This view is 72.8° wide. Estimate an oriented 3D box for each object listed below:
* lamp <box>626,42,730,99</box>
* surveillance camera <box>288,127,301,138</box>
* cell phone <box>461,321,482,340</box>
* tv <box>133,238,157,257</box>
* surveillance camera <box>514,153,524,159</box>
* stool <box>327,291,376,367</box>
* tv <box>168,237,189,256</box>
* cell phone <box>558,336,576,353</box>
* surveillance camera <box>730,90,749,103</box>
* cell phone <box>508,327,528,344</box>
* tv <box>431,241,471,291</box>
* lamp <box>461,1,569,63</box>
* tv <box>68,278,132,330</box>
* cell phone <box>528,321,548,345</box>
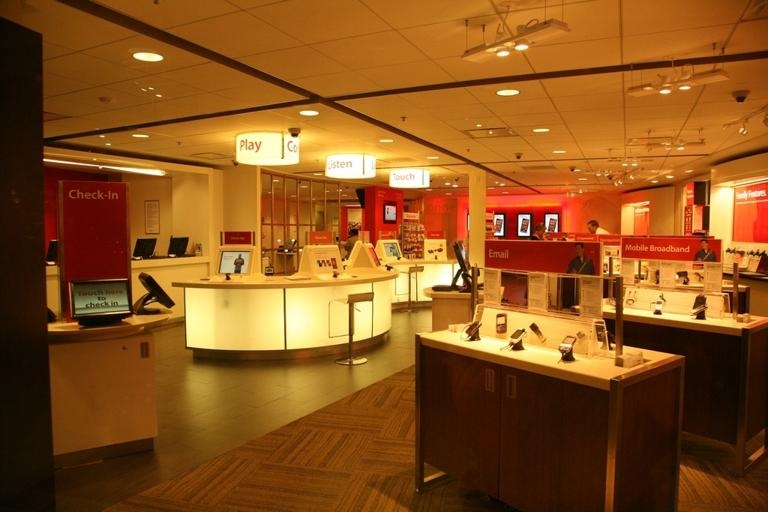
[{"bbox_3d":[3.587,-2.137,6.108,1.059,0.409,0.963,-10,16,-38],"label":"lamp"},{"bbox_3d":[-1.479,-2.040,8.573,0.146,0.098,0.144,-1,-1,0],"label":"surveillance camera"},{"bbox_3d":[0.772,0.663,4.609,0.161,0.181,0.141,1,-3,-15],"label":"cell phone"},{"bbox_3d":[-4.773,-0.176,10.416,0.142,0.386,0.399,25,15,27],"label":"tv"},{"bbox_3d":[2.910,-2.180,11.275,0.162,0.129,0.747,3,13,14],"label":"surveillance camera"},{"bbox_3d":[-0.439,1.046,7.711,0.467,1.104,0.626,3,13,17],"label":"stool"},{"bbox_3d":[-4.357,-0.199,11.043,0.395,0.407,0.212,2,8,-21],"label":"tv"},{"bbox_3d":[1.453,0.701,4.154,0.082,0.066,0.184,1,34,37],"label":"cell phone"},{"bbox_3d":[4.630,-2.083,6.776,0.144,0.063,0.140,2,-5,-6],"label":"surveillance camera"},{"bbox_3d":[1.126,0.665,4.398,0.144,0.051,0.083,-39,22,-31],"label":"cell phone"},{"bbox_3d":[0.904,0.128,6.544,0.612,0.646,0.621,-1,-1,14],"label":"tv"},{"bbox_3d":[1.313,-2.166,5.045,1.008,0.467,0.576,11,16,41],"label":"lamp"},{"bbox_3d":[-2.804,0.434,5.248,0.712,0.605,0.395,0,-14,-34],"label":"tv"},{"bbox_3d":[1.310,0.669,4.443,0.098,0.168,0.060,-40,-19,17],"label":"cell phone"}]
